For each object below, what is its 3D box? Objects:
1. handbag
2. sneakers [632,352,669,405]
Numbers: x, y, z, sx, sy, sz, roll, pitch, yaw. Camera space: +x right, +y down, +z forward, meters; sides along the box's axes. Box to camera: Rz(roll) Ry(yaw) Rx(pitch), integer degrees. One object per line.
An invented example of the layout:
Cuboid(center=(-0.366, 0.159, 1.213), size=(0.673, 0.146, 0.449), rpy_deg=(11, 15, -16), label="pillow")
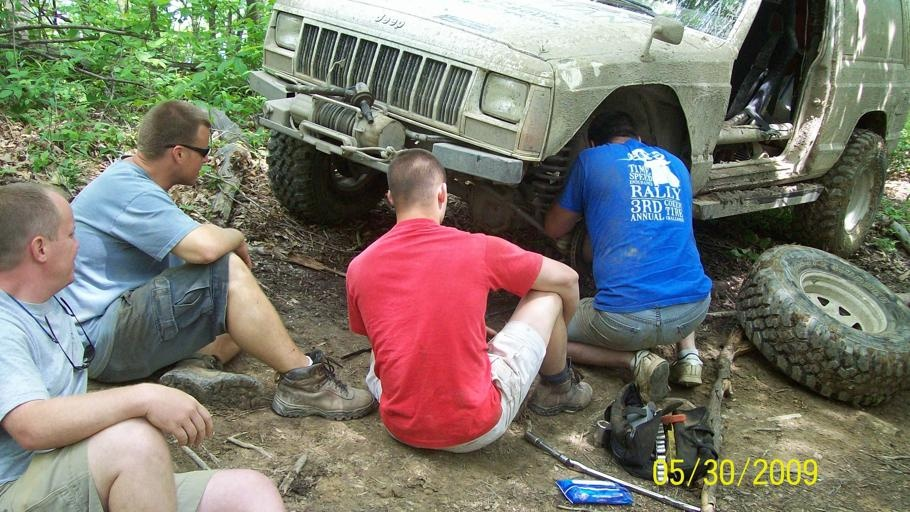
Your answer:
Cuboid(center=(1.547, 1.340, 5.046), size=(0.793, 0.320, 0.534), rpy_deg=(9, 64, -3), label="handbag")
Cuboid(center=(1.557, 1.007, 5.469), size=(0.203, 0.490, 0.224), rpy_deg=(-28, 52, -19), label="sneakers")
